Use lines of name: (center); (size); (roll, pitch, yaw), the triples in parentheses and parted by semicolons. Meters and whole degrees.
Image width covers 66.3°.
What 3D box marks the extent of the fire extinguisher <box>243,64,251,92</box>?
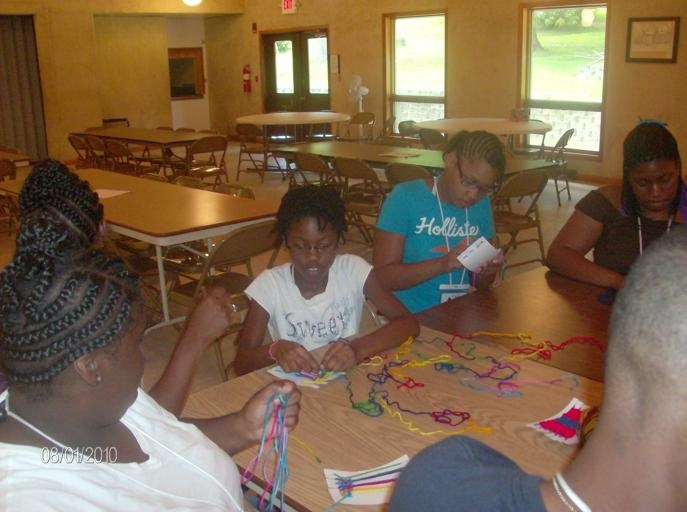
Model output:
fire extinguisher: (-2.333, -4.246, 12.634); (0.304, 0.673, 0.072); (12, 19, 40)

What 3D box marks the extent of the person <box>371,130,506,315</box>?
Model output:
person: (0.439, -0.077, 2.324); (0.549, 1.002, 0.544); (11, 37, 18)

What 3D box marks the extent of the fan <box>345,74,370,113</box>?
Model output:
fan: (0.282, -3.305, 10.676); (0.454, 0.728, 0.434); (3, 15, 14)

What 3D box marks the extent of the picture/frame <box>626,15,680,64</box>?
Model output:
picture/frame: (4.251, -2.982, 7.199); (0.029, 0.621, 0.710); (-25, 32, -35)

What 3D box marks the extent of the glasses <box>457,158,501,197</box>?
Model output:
glasses: (0.519, -0.303, 2.078); (0.139, 0.047, 0.140); (1, 36, -45)
